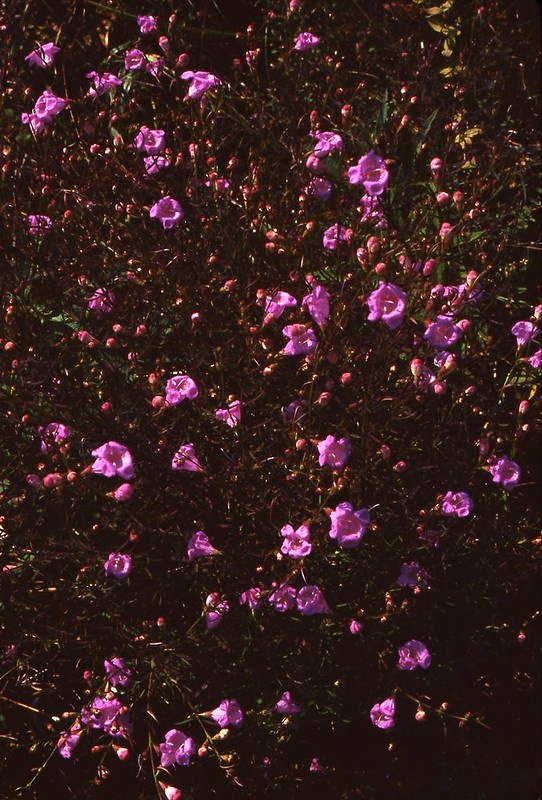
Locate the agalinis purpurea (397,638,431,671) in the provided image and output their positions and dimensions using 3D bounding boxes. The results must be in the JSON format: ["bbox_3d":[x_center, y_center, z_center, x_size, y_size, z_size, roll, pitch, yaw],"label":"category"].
[{"bbox_3d":[0.389,0.707,2.347,0.088,0.082,0.045,7,-5,17],"label":"agalinis purpurea"}]
